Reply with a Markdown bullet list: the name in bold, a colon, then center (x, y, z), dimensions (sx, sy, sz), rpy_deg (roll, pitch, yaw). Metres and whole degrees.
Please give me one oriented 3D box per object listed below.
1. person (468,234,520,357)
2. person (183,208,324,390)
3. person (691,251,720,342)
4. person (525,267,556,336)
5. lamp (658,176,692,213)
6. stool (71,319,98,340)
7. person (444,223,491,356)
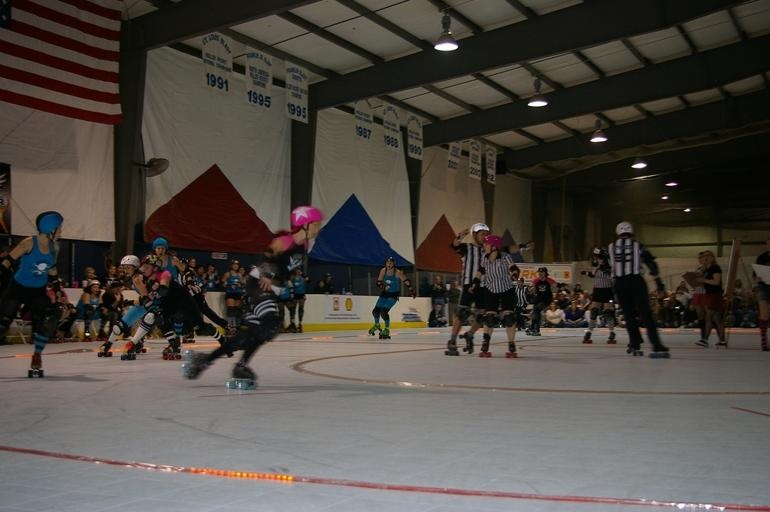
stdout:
- **person**: center (2.047, 0.727, 11.518), dimensions (0.885, 2.088, 0.821), rpy_deg (-2, 0, 9)
- **person**: center (-1.479, 0.454, 7.126), dimensions (1.354, 2.061, 0.611), rpy_deg (-3, -8, 32)
- **person**: center (6.794, 0.867, 12.968), dimensions (0.898, 1.999, 0.553), rpy_deg (4, -3, -36)
- **person**: center (4.749, 1.362, 18.616), dimensions (0.690, 2.084, 1.011), rpy_deg (11, -4, -23)
- **lamp**: center (16.138, -3.386, 34.290), dimensions (1.434, 1.784, 0.685), rpy_deg (-2, -7, 24)
- **stool**: center (-7.920, 1.975, 16.276), dimensions (0.702, 0.650, 0.414), rpy_deg (0, -5, -1)
- **person**: center (1.589, 0.555, 11.526), dimensions (0.934, 2.603, 0.923), rpy_deg (-1, 1, 0)
